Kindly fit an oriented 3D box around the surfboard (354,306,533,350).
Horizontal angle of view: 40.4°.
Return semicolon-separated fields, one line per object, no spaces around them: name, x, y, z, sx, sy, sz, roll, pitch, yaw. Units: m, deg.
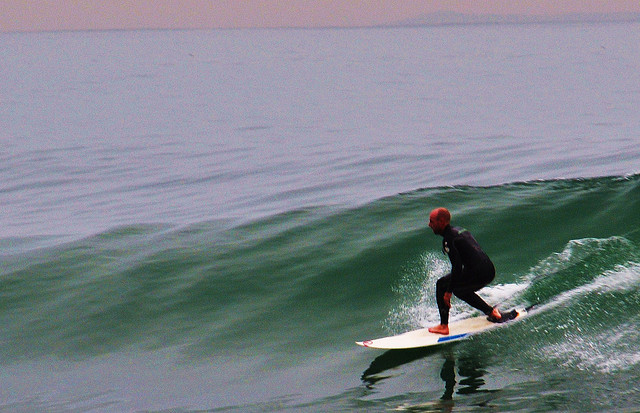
surfboard;4.667;4.387;30.891;6.891;0.436;0.827;-10;14;-19
